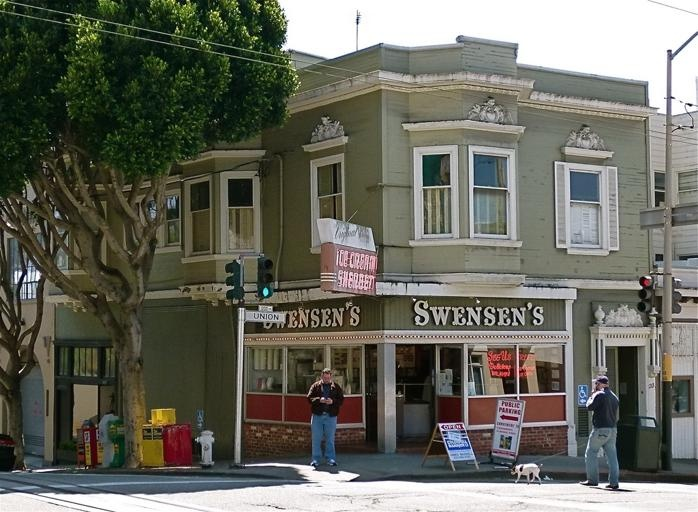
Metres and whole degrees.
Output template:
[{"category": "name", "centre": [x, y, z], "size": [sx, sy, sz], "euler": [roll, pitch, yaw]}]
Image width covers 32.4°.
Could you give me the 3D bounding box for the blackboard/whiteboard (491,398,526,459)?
[{"category": "blackboard/whiteboard", "centre": [4.031, 4.383, 30.267], "size": [0.904, 1.570, 0.351], "euler": [-7, -10, 31]}]

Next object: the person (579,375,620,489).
[{"category": "person", "centre": [5.918, 4.093, 27.938], "size": [0.772, 2.627, 0.713], "euler": [-1, -9, -4]}]

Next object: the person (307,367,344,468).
[{"category": "person", "centre": [-0.614, 4.074, 30.149], "size": [0.772, 2.447, 0.775], "euler": [4, -10, -32]}]

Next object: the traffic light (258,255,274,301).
[{"category": "traffic light", "centre": [-2.079, 0.512, 29.794], "size": [0.360, 1.088, 0.816], "euler": [-1, -9, -6]}]

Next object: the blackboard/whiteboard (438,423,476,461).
[{"category": "blackboard/whiteboard", "centre": [2.673, 4.618, 29.807], "size": [0.960, 0.947, 0.531], "euler": [4, -11, -33]}]

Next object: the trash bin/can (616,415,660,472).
[{"category": "trash bin/can", "centre": [7.401, 4.847, 30.400], "size": [1.076, 1.233, 0.498], "euler": [-4, -9, 11]}]

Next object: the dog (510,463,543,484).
[{"category": "dog", "centre": [4.331, 5.266, 29.047], "size": [0.746, 0.479, 1.589], "euler": [-3, -10, 8]}]

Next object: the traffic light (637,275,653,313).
[{"category": "traffic light", "centre": [7.861, 0.994, 31.528], "size": [0.430, 1.049, 0.587], "euler": [-4, -9, 15]}]

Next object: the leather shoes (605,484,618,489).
[{"category": "leather shoes", "centre": [6.073, 5.262, 27.531], "size": [0.106, 0.115, 0.254], "euler": [4, 0, -44]}]

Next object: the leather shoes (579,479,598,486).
[{"category": "leather shoes", "centre": [5.649, 5.302, 28.039], "size": [0.130, 0.154, 0.344], "euler": [6, -1, -45]}]

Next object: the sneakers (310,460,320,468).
[{"category": "sneakers", "centre": [-0.809, 5.187, 29.944], "size": [0.206, 0.205, 0.406], "euler": [-2, -10, -2]}]

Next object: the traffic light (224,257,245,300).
[{"category": "traffic light", "centre": [-2.830, 0.603, 29.918], "size": [0.412, 1.127, 0.701], "euler": [-1, -9, -7]}]

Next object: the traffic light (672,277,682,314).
[{"category": "traffic light", "centre": [8.801, 1.057, 32.125], "size": [0.251, 1.018, 1.288], "euler": [-4, -10, 16]}]
